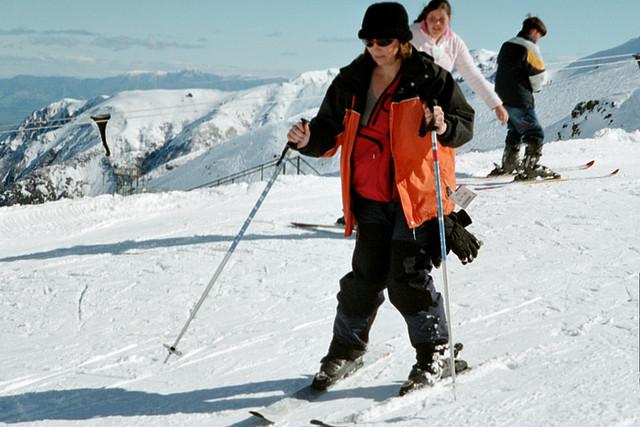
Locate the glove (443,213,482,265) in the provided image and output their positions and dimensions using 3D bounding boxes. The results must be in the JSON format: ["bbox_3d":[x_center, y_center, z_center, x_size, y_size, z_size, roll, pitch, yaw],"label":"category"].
[{"bbox_3d":[1.421,0.263,7.255,0.374,0.527,0.158,-43,10,-25],"label":"glove"}]

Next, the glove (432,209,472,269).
[{"bbox_3d":[1.342,0.223,7.330,0.179,0.546,0.555,25,-38,-6],"label":"glove"}]

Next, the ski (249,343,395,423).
[{"bbox_3d":[0.053,1.772,7.342,1.541,0.098,0.249,-23,29,-36],"label":"ski"}]
